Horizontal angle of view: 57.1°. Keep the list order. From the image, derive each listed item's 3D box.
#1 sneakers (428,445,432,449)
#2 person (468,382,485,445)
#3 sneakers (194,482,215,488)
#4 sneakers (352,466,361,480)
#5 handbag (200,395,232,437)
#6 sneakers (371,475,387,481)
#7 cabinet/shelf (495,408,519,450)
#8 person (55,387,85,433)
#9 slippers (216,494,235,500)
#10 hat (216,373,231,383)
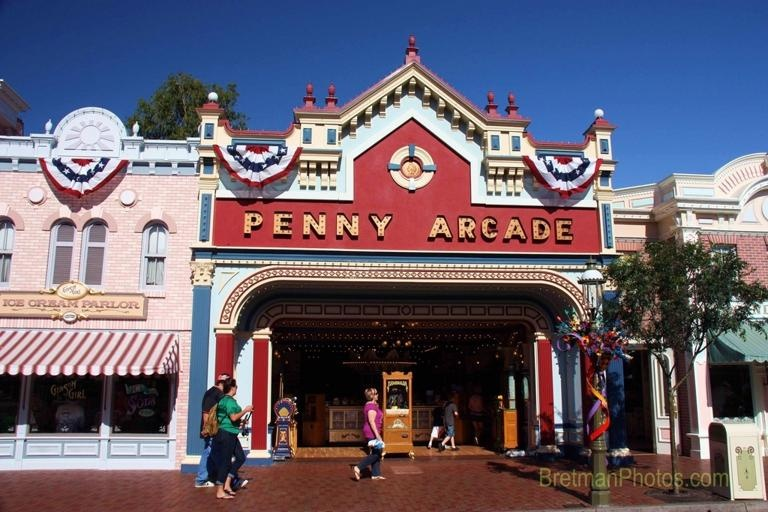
[{"bbox_3d":[1.718,7.073,26.078,0.121,0.087,0.116,-1,-17,0],"label":"sneakers"},{"bbox_3d":[3.606,6.194,27.343,0.563,2.286,1.295,-2,-16,8],"label":"person"},{"bbox_3d":[-5.164,6.652,20.414,0.544,0.250,0.192,0,-20,-5],"label":"sneakers"},{"bbox_3d":[-0.789,6.442,20.876,0.174,0.507,0.155,-2,0,41],"label":"sneakers"},{"bbox_3d":[-4.734,4.509,19.462,0.683,0.931,0.295,-9,-18,29],"label":"handbag"},{"bbox_3d":[-0.157,6.682,21.144,0.359,0.150,0.127,-1,-5,-3],"label":"sneakers"},{"bbox_3d":[4.456,6.299,25.563,0.544,1.379,1.355,3,-12,-8],"label":"cabinet/shelf"},{"bbox_3d":[-10.227,5.259,22.957,0.834,1.248,0.610,7,15,-13],"label":"person"},{"bbox_3d":[-4.286,6.545,19.244,0.484,0.213,0.246,5,-16,-16],"label":"slippers"},{"bbox_3d":[-4.504,3.454,19.937,0.353,0.216,0.517,1,-13,-3],"label":"hat"}]
